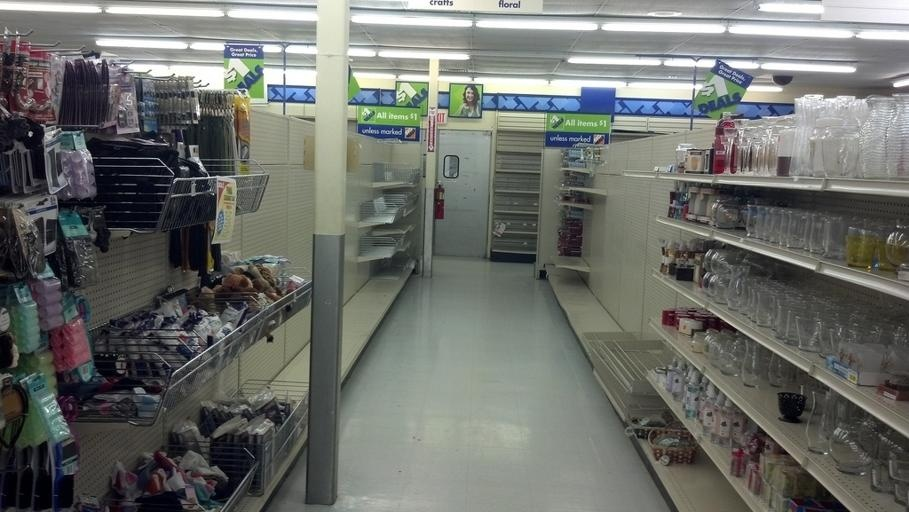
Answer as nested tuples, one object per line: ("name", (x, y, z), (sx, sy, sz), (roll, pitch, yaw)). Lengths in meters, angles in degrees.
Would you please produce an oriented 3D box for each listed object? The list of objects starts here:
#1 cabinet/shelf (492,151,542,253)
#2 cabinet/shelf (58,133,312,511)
("cabinet/shelf", (1.452, -1.225, 13.418), (1.031, 2.420, 0.404), (1, 13, -5))
("cabinet/shelf", (-1.649, 0.573, 3.967), (0.981, 2.185, 2.419), (3, 13, 2))
